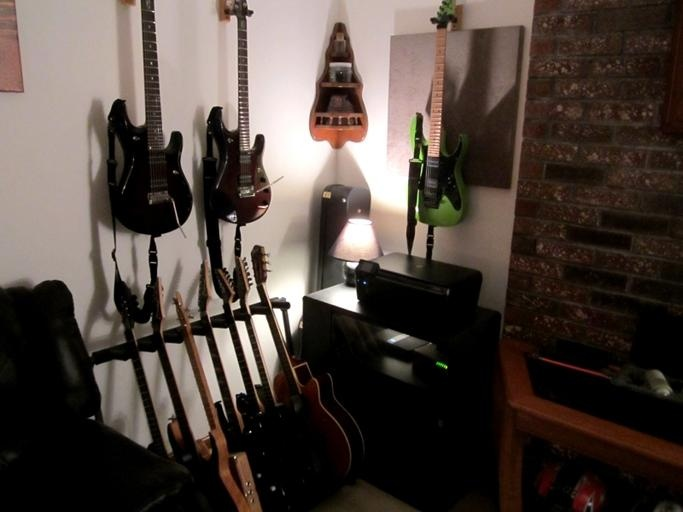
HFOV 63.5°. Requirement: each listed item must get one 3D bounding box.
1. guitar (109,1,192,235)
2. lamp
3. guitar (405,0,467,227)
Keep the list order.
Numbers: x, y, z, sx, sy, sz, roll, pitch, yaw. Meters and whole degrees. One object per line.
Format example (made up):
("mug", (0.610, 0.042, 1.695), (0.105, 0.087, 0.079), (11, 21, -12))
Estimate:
("guitar", (-0.873, -0.591, 2.430), (0.343, 1.014, 0.122), (-8, 18, -20))
("lamp", (0.034, -0.023, 3.265), (0.354, 0.799, 0.261), (17, 15, 39))
("guitar", (0.519, -0.736, 2.895), (0.297, 1.141, 0.242), (2, 18, 12))
